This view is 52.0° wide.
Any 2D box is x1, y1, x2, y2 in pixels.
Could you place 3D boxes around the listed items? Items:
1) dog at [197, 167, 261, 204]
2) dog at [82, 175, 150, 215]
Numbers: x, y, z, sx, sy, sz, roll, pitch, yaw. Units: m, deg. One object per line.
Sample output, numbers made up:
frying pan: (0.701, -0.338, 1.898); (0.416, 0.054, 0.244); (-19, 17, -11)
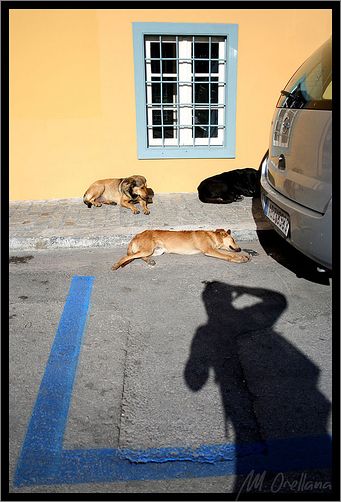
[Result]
dog: (1.251, -1.432, 7.444); (1.168, 0.494, 0.721); (-14, 29, -15)
dog: (-1.022, -1.254, 7.313); (1.444, 0.799, 0.734); (9, 21, 13)
